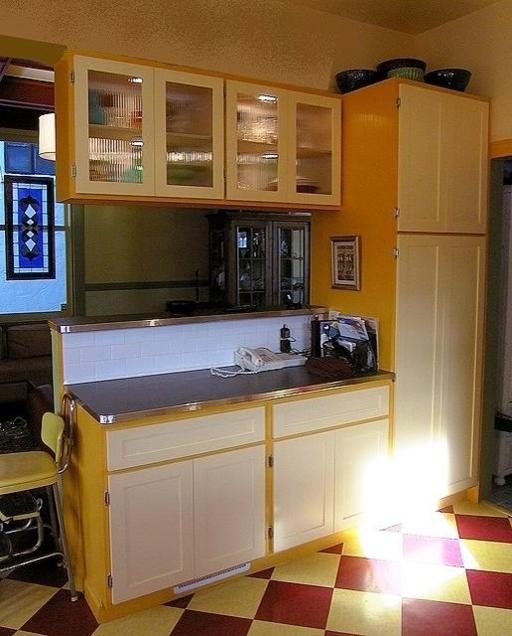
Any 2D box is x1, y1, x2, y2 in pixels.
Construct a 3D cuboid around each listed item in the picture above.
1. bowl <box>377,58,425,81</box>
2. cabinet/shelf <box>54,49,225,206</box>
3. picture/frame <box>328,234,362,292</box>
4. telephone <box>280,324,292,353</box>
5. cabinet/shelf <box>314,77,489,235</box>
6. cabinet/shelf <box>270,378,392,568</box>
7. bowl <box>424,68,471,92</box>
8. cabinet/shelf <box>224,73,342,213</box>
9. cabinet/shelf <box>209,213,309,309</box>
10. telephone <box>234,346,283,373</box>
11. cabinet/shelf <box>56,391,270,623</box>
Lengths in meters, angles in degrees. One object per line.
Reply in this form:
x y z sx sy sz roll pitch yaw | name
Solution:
0.727 -1.243 2.712 0.235 0.132 0.164 2 5 11 | bowl
-0.494 -0.804 2.368 0.725 0.557 0.235 -8 19 -34 | cabinet/shelf
0.484 -0.300 2.890 0.032 0.358 0.324 -4 6 -26 | picture/frame
0.162 0.116 2.946 0.063 0.147 0.094 1 5 3 | telephone
0.848 -0.795 2.920 0.828 0.726 0.437 -11 15 -38 | cabinet/shelf
0.319 0.698 2.432 0.852 0.777 0.291 -4 5 -37 | cabinet/shelf
0.990 -1.229 2.790 0.180 0.074 0.177 0 13 0 | bowl
0.080 -0.841 2.745 0.716 0.560 0.257 -6 10 -34 | cabinet/shelf
0.155 -0.592 5.926 0.908 1.122 0.410 -2 25 -2 | cabinet/shelf
0.009 0.205 2.719 0.240 0.113 0.279 1 4 0 | telephone
-0.369 0.744 2.203 0.816 0.727 0.436 1 -5 -38 | cabinet/shelf
